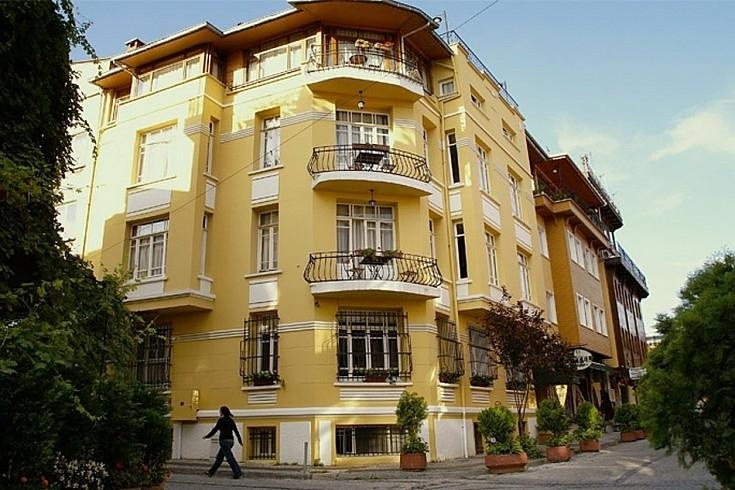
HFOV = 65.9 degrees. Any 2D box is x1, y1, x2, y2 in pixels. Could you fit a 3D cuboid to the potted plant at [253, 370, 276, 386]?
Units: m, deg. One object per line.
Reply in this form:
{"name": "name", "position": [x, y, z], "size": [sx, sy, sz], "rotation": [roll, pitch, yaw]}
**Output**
{"name": "potted plant", "position": [-3.807, 5.004, 21.075], "size": [0.663, 0.326, 0.598], "rotation": [-5, -10, 40]}

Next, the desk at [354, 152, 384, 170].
{"name": "desk", "position": [0.066, -3.285, 22.359], "size": [1.193, 0.717, 0.451], "rotation": [3, -24, -10]}

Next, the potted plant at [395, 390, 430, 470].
{"name": "potted plant", "position": [1.480, 6.247, 19.066], "size": [0.992, 2.549, 0.780], "rotation": [-10, -25, 18]}

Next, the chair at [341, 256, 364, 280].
{"name": "chair", "position": [-0.569, 0.850, 21.471], "size": [0.933, 1.218, 0.713], "rotation": [-1, -24, -2]}
